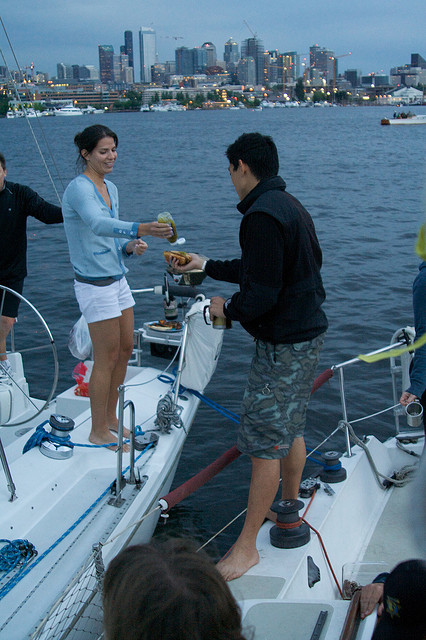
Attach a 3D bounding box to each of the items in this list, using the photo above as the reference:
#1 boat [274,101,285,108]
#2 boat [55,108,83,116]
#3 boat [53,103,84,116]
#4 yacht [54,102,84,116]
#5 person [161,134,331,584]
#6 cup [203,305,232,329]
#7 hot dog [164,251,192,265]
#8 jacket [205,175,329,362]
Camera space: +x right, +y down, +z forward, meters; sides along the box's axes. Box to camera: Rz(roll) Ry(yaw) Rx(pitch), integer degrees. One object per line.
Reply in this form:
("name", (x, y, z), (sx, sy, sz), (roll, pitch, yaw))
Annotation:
("boat", (16.890, -54.370, 158.950), (1.849, 0.839, 2.522), (4, 7, 3))
("boat", (-25.989, -37.681, 113.728), (6.461, 1.640, 1.764), (2, 14, 3))
("boat", (-25.330, -38.455, 115.330), (2.540, 2.213, 6.709), (3, 9, 21))
("yacht", (-25.358, -38.657, 115.732), (2.436, 2.318, 6.387), (1, 13, 16))
("person", (0.112, 0.127, 2.362), (0.743, 1.535, 0.609), (1, 8, 6))
("cup", (0.032, -0.006, 2.348), (0.108, 0.097, 0.061), (3, 13, 17))
("hot dog", (-0.147, -0.266, 2.654), (0.088, 0.033, 0.068), (22, 1, 25))
("jacket", (0.214, -0.185, 2.205), (0.297, 0.661, 0.442), (2, -11, 27))
